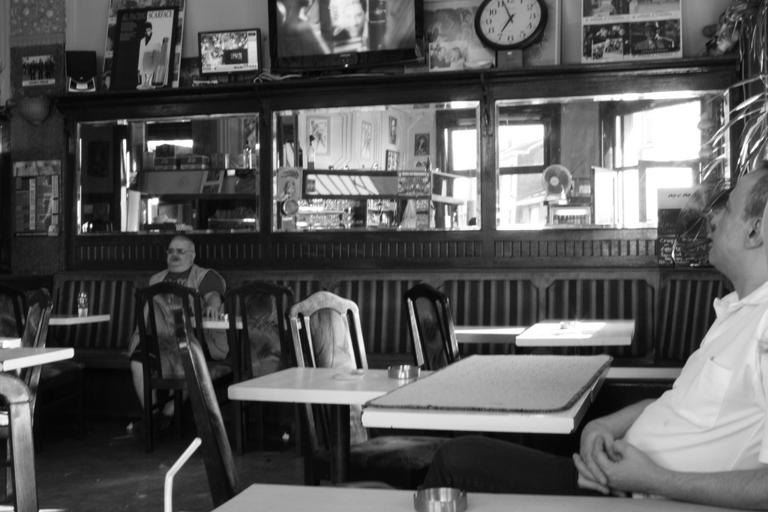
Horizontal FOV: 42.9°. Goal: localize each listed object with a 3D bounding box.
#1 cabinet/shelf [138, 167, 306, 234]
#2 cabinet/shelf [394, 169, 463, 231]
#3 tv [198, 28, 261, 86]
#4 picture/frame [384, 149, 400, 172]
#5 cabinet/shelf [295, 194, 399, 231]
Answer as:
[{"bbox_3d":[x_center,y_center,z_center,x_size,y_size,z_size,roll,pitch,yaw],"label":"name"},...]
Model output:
[{"bbox_3d":[-1.808,-0.663,10.833,1.884,0.663,0.545,4,9,25],"label":"cabinet/shelf"},{"bbox_3d":[0.504,-0.630,10.790,0.697,0.716,0.260,1,16,6],"label":"cabinet/shelf"},{"bbox_3d":[-1.617,-2.086,10.252,0.550,0.449,0.158,0,2,9],"label":"tv"},{"bbox_3d":[0.065,-1.113,11.404,0.032,0.246,0.239,-5,-6,38],"label":"picture/frame"},{"bbox_3d":[-0.435,-0.458,10.634,1.099,0.377,0.393,0,-2,-8],"label":"cabinet/shelf"}]
